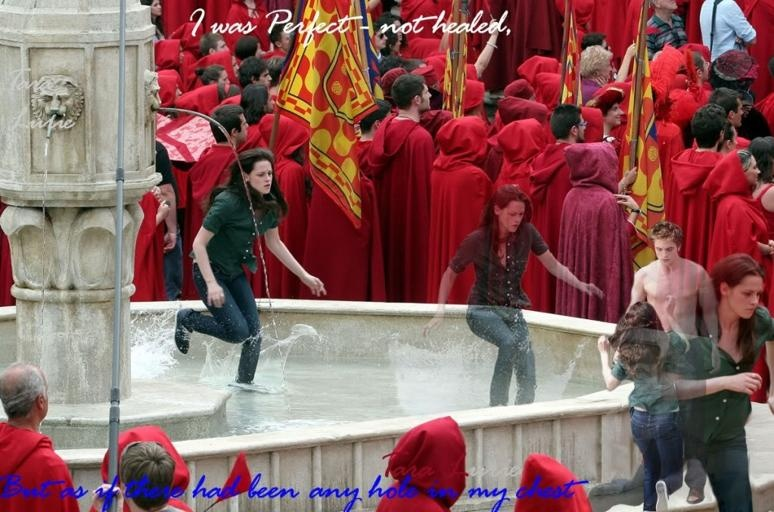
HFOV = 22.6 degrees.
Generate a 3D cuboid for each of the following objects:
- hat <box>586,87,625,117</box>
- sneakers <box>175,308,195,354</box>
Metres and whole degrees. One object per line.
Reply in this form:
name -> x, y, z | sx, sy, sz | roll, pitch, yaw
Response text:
hat -> 1.988, -1.398, 17.337 | 0.318, 0.177, 0.238 | -11, 6, 21
sneakers -> -1.629, 0.633, 15.486 | 0.167, 0.384, 0.133 | 12, 23, 24
